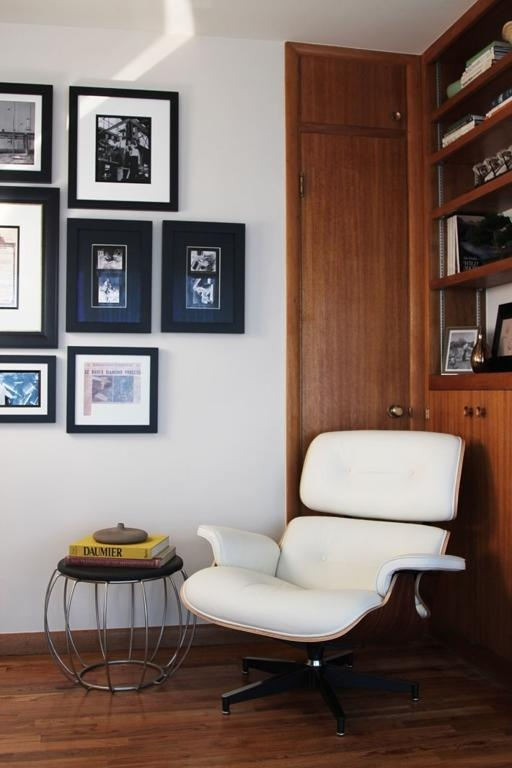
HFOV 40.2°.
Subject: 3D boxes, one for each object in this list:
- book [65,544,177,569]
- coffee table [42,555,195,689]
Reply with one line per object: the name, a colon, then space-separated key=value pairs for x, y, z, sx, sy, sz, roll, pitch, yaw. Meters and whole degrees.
book: x=-0.445 y=0.590 z=2.340 sx=0.374 sy=0.043 sz=0.206 roll=0 pitch=0 yaw=-16
coffee table: x=-0.490 y=0.865 z=2.464 sx=0.515 sy=0.426 sz=0.505 roll=1 pitch=-5 yaw=10
